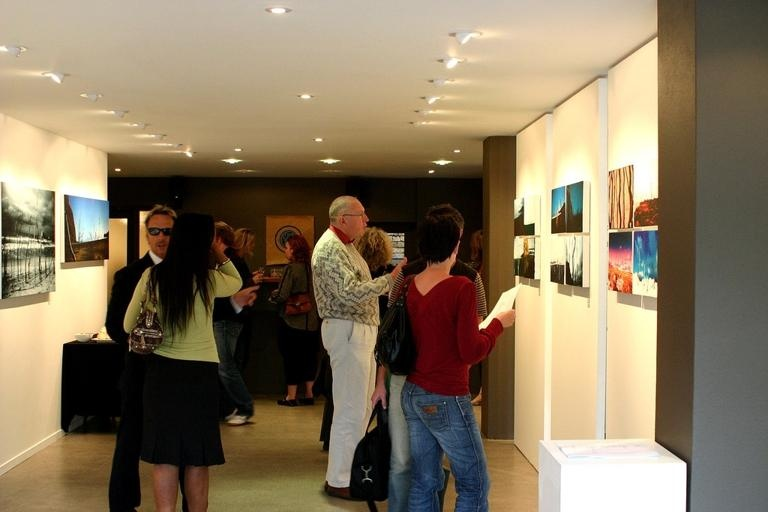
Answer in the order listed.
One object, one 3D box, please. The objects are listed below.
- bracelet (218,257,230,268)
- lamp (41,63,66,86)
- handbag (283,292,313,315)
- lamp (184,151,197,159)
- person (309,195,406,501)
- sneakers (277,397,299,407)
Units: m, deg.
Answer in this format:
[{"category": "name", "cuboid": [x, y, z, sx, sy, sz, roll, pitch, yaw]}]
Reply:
[{"category": "bracelet", "cuboid": [-1.055, 0.040, 3.938, 0.066, 0.033, 0.075, -3, -13, -9]}, {"category": "lamp", "cuboid": [-2.277, -1.250, 4.122, 0.100, 0.087, 0.036, 5, 17, -19]}, {"category": "handbag", "cuboid": [-1.020, 0.560, 7.026, 0.252, 0.227, 0.100, -4, -4, -8]}, {"category": "lamp", "cuboid": [-2.449, -1.286, 7.541, 0.117, 0.029, 0.656, 1, -2, -18]}, {"category": "person", "cuboid": [-0.173, 0.683, 4.663, 0.715, 2.265, 0.830, 0, 3, 7]}, {"category": "sneakers", "cuboid": [-1.175, 1.794, 7.313, 0.194, 0.073, 0.108, 7, 0, 13]}]
